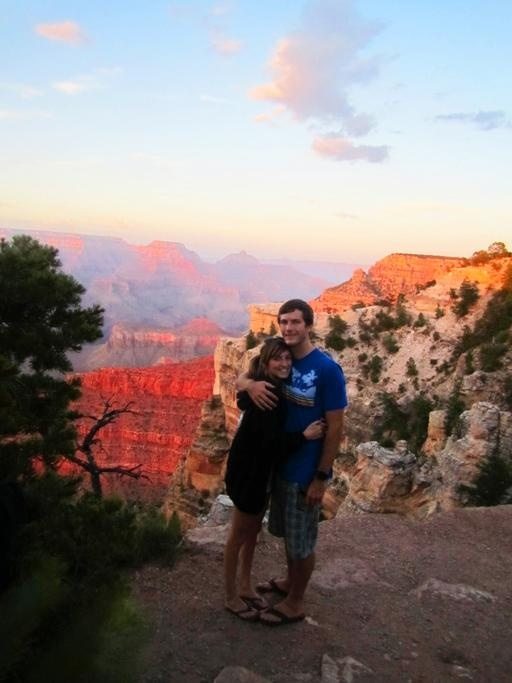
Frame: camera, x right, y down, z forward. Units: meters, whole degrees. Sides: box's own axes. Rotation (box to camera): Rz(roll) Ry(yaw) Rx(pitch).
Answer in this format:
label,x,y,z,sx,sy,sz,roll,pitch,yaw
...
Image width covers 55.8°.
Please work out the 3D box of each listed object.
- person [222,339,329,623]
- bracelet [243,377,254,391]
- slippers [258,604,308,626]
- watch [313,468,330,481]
label,x,y,z,sx,sy,sz,roll,pitch,yaw
person,0.020,1.012,3.570,0.552,1.484,0.650,7,-3,-13
bracelet,-0.053,0.302,3.379,0.066,0.033,0.086,32,8,-22
slippers,0.172,2.024,3.556,0.235,0.058,0.136,1,0,6
watch,0.479,0.941,3.462,0.098,0.070,0.107,-1,-24,-43
